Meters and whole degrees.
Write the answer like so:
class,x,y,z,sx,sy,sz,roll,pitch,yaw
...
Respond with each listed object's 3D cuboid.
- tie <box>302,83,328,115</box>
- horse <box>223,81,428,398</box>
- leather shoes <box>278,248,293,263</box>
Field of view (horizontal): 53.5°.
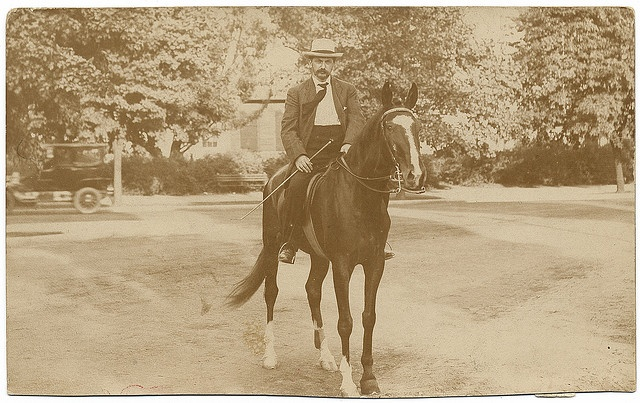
class,x,y,z,sx,sy,sz,roll,pitch,yaw
tie,-0.062,-1.331,8.162,0.292,0.397,0.115,6,-19,29
horse,0.174,0.565,7.997,0.972,4.007,2.551,0,2,-40
leather shoes,-0.440,0.690,8.076,0.167,0.124,0.167,3,-5,0
